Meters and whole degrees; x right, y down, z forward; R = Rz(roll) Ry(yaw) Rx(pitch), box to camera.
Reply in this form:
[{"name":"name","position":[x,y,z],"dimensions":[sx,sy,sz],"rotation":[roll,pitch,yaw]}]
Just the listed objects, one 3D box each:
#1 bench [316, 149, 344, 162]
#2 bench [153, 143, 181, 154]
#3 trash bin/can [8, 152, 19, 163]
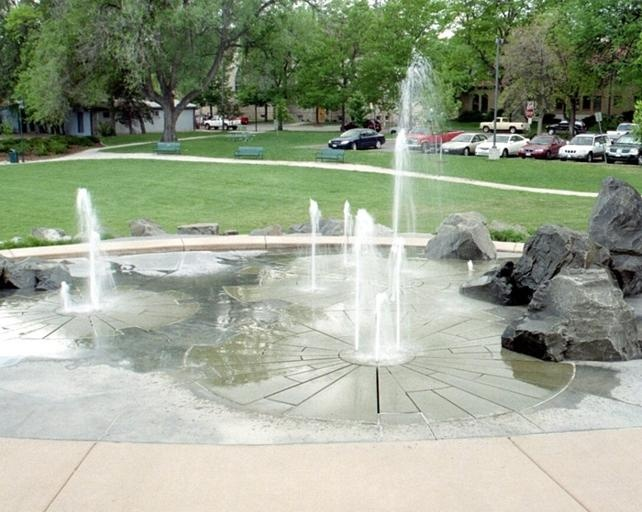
[{"name":"bench","position":[0.631,-6.616,35.504],"dimensions":[1.648,0.772,2.451],"rotation":[-8,15,-33]},{"name":"bench","position":[-11.451,-8.096,40.365],"dimensions":[2.474,0.797,1.067],"rotation":[7,15,29]},{"name":"trash bin/can","position":[-21.100,-6.831,36.709],"dimensions":[0.421,0.752,1.025],"rotation":[-6,14,-23]}]
